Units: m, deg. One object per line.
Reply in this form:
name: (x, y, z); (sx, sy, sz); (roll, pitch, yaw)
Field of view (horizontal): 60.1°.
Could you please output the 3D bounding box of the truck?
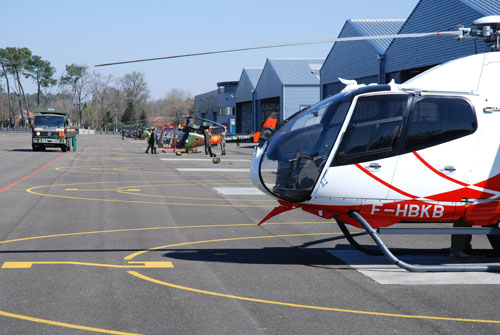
truck: (-16.923, -3.182, 37.182); (3.227, 3.829, 3.915); (0, 11, -16)
